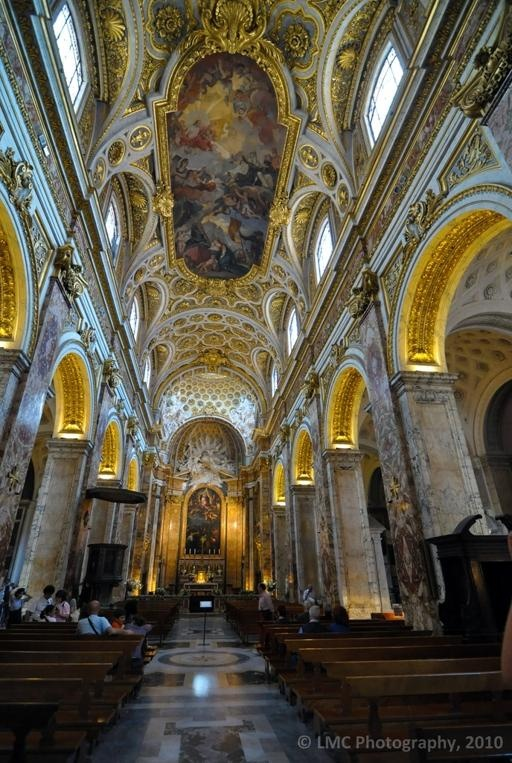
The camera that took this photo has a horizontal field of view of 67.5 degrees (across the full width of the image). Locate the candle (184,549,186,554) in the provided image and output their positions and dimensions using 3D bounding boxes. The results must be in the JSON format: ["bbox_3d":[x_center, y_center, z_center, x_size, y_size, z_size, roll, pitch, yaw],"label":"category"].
[{"bbox_3d":[-5.117,12.282,27.692,0.227,0.397,0.058,10,-28,-20],"label":"candle"}]

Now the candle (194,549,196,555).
[{"bbox_3d":[-4.414,12.355,27.850,0.173,0.398,0.080,14,-30,-28],"label":"candle"}]
